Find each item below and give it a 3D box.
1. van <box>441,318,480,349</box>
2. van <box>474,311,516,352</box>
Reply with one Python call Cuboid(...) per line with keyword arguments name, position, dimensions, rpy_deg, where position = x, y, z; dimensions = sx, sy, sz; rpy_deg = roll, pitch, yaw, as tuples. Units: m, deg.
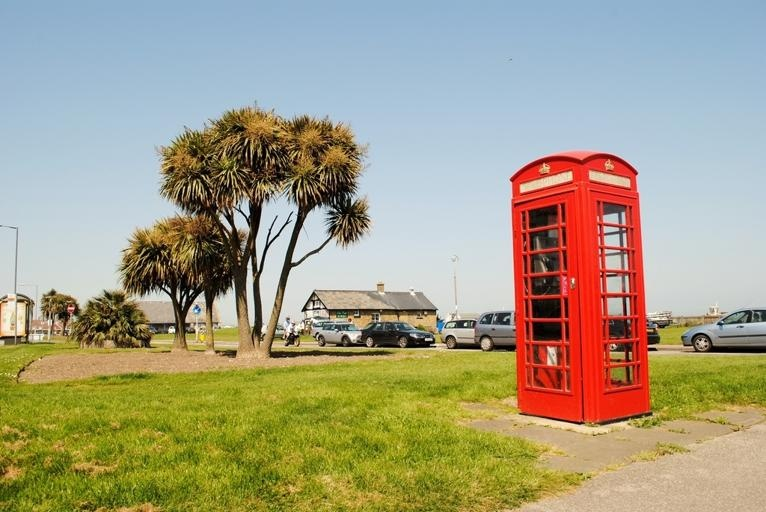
Cuboid(name="van", position=(3.637, 3.739, 31.629), dimensions=(1.883, 0.871, 0.968), rpy_deg=(-10, -12, 39))
Cuboid(name="van", position=(4.808, 3.220, 28.120), dimensions=(0.871, 1.430, 2.312), rpy_deg=(0, -1, -38))
